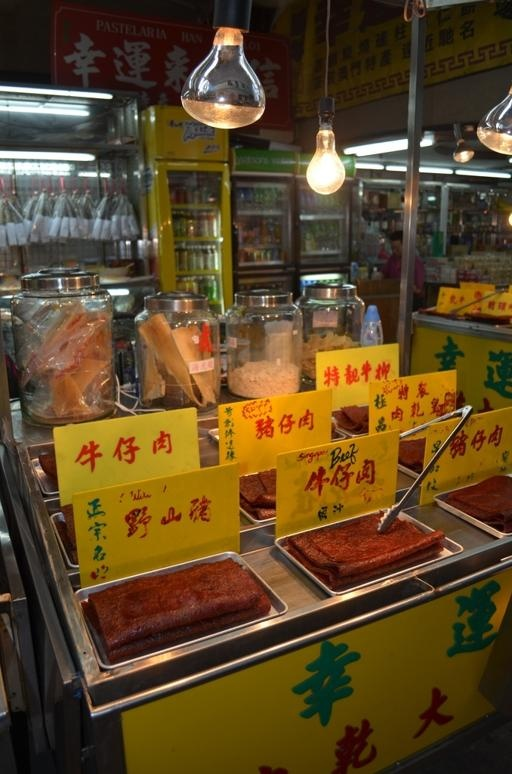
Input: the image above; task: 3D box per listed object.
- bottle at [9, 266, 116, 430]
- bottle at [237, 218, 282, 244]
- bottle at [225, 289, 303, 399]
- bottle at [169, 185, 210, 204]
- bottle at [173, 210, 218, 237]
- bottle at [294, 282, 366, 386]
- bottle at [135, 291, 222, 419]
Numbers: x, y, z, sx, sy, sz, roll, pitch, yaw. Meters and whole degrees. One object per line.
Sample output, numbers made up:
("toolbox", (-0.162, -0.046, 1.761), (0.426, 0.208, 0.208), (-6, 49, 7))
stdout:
("bottle", (-0.558, -0.123, 1.588), (0.280, 0.415, 0.290), (-2, 14, 0))
("bottle", (0.055, -1.637, 5.681), (0.495, 0.280, 0.092), (-11, 17, -30))
("bottle", (0.024, -0.145, 1.845), (0.261, 0.339, 0.307), (-1, 15, 2))
("bottle", (-0.614, -1.791, 5.096), (0.392, 0.146, 0.109), (-11, 17, -30))
("bottle", (-0.572, -1.545, 5.199), (0.438, 0.237, 0.100), (-6, 15, -15))
("bottle", (0.284, -0.222, 2.131), (0.265, 0.342, 0.574), (1, 15, 10))
("bottle", (-0.226, -0.101, 1.666), (0.326, 0.489, 0.320), (-1, 4, 0))
